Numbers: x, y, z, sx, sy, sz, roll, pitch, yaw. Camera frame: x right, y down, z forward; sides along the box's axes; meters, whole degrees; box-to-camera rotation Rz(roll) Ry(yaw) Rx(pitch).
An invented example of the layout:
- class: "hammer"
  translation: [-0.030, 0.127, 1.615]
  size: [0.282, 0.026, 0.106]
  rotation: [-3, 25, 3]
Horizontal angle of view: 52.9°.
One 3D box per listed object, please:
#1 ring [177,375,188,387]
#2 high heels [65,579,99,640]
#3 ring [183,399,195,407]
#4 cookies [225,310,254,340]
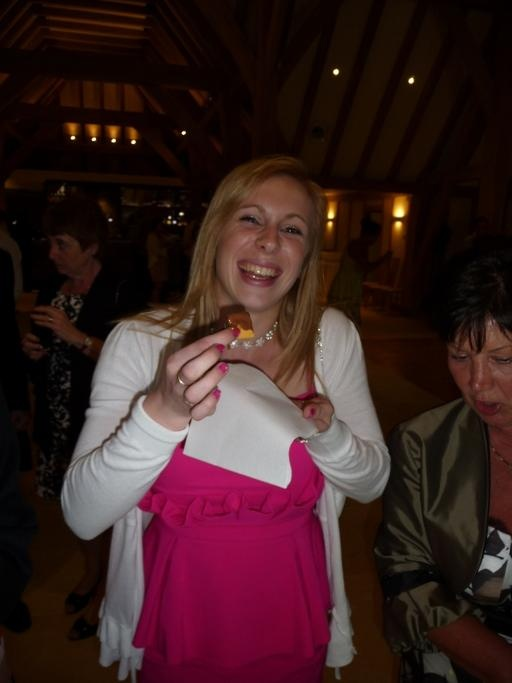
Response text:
- class: "ring"
  translation: [-0.121, 0.068, 0.851]
  size: [0.007, 0.017, 0.013]
  rotation: [-34, -4, -6]
- class: "high heels"
  translation: [-0.804, 1.223, 2.404]
  size: [0.111, 0.083, 0.321]
  rotation: [-1, 18, -5]
- class: "ring"
  translation: [-0.111, 0.102, 0.847]
  size: [0.014, 0.010, 0.014]
  rotation: [4, -6, 0]
- class: "cookies"
  translation: [-0.030, -0.035, 1.023]
  size: [0.052, 0.066, 0.023]
  rotation: [-2, -35, -13]
